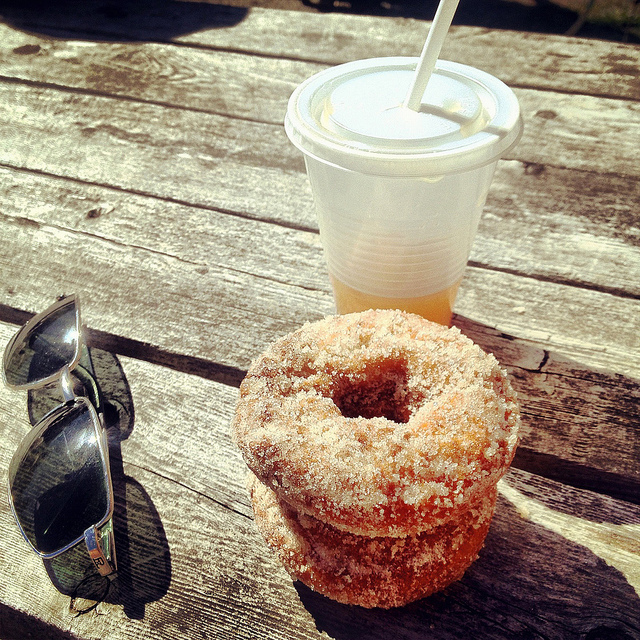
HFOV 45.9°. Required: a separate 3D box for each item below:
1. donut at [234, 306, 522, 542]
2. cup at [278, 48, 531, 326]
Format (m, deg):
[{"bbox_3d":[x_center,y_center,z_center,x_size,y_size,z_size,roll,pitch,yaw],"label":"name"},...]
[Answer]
[{"bbox_3d":[0.057,0.175,1.114,0.397,0.121,0.359,15,39,22],"label":"donut"},{"bbox_3d":[0.130,-0.224,1.299,0.370,0.502,0.306,11,46,8],"label":"cup"}]
